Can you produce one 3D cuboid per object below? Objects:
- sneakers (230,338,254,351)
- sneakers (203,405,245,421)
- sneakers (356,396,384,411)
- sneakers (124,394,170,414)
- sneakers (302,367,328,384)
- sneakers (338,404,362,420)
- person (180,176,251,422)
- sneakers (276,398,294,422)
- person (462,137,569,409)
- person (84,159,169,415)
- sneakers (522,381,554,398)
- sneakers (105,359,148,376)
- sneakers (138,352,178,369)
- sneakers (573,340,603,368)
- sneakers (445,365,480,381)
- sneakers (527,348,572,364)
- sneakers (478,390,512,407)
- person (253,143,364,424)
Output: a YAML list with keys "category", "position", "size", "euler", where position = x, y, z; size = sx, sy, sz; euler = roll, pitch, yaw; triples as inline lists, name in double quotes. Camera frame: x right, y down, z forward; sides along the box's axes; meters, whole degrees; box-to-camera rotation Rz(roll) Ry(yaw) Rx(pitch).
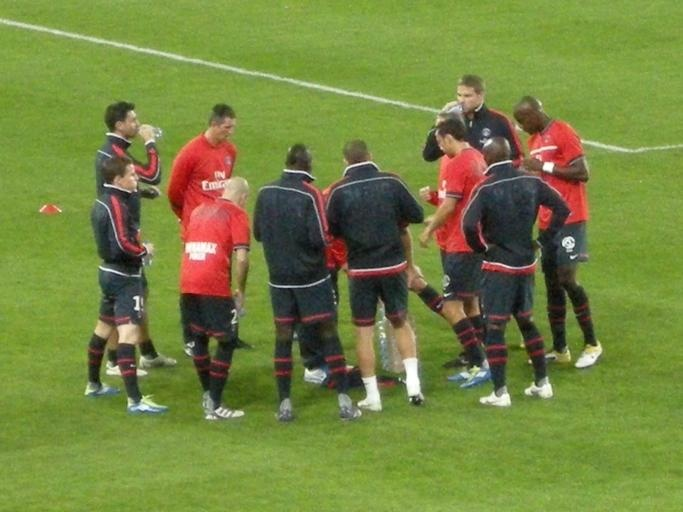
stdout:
- category: "sneakers"
  position: [-1.210, 1.105, 16.105]
  size: [0.202, 0.110, 0.257]
  euler: [-5, -7, 1]
- category: "sneakers"
  position: [-1.299, 1.763, 14.305]
  size: [0.346, 0.126, 0.176]
  euler: [-4, 1, -8]
- category: "sneakers"
  position: [0.321, 1.653, 14.334]
  size: [0.277, 0.123, 0.119]
  euler: [7, 9, 33]
- category: "sneakers"
  position: [-2.192, 1.672, 14.447]
  size: [0.516, 0.225, 0.181]
  euler: [0, 1, -3]
- category: "sneakers"
  position: [-0.298, 1.433, 15.208]
  size: [0.305, 0.153, 0.137]
  euler: [-1, 4, 19]
- category: "sneakers"
  position: [0.118, 1.730, 14.154]
  size: [0.255, 0.157, 0.147]
  euler: [-2, 7, -11]
- category: "person"
  position: [-1.399, 0.464, 14.335]
  size: [0.783, 2.705, 0.478]
  euler: [-2, 7, -7]
- category: "sneakers"
  position: [-0.618, 1.720, 14.170]
  size: [0.188, 0.248, 0.077]
  euler: [0, -27, -1]
- category: "person"
  position: [1.913, 0.156, 14.281]
  size: [1.082, 3.011, 0.480]
  euler: [-1, 7, 6]
- category: "person"
  position: [-2.456, 0.297, 14.520]
  size: [0.635, 2.893, 0.907]
  euler: [-8, 9, -43]
- category: "sneakers"
  position: [2.269, 1.506, 14.419]
  size: [0.166, 0.125, 0.296]
  euler: [-3, 6, -22]
- category: "sneakers"
  position: [-2.586, 1.334, 15.442]
  size: [0.592, 0.248, 0.198]
  euler: [2, 5, 2]
- category: "sneakers"
  position: [-2.265, 1.291, 15.770]
  size: [0.486, 0.202, 0.175]
  euler: [-2, 10, -15]
- category: "sneakers"
  position: [2.944, 1.179, 15.107]
  size: [0.163, 0.182, 0.460]
  euler: [-11, 21, 47]
- category: "sneakers"
  position: [1.446, 1.370, 14.987]
  size: [0.395, 0.156, 0.155]
  euler: [-4, 2, 24]
- category: "sneakers"
  position: [2.497, 1.183, 15.352]
  size: [0.627, 0.260, 0.205]
  euler: [2, -4, 1]
- category: "sneakers"
  position: [1.731, 1.593, 14.336]
  size: [0.353, 0.154, 0.152]
  euler: [4, 6, 17]
- category: "person"
  position: [-0.445, 0.274, 14.200]
  size: [1.008, 3.055, 0.679]
  euler: [-2, 7, -5]
